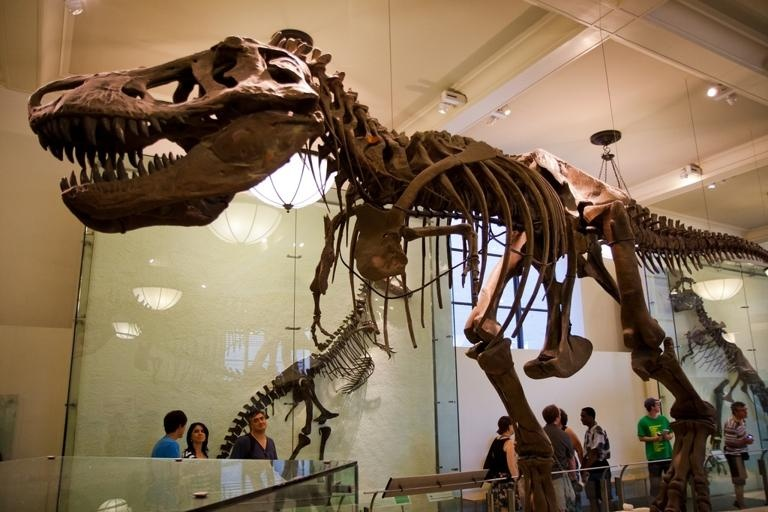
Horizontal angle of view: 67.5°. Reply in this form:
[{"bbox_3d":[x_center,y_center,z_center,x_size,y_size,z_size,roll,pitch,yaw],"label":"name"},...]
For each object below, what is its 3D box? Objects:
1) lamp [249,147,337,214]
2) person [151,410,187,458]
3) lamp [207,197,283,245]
[{"bbox_3d":[-0.866,-0.680,5.489,0.793,0.364,0.764,-2,-4,-6],"label":"lamp"},{"bbox_3d":[-2.093,1.728,5.645,0.288,0.438,0.920,4,-18,-18],"label":"person"},{"bbox_3d":[-1.587,-0.383,6.606,0.587,0.549,0.236,2,14,-15],"label":"lamp"}]
